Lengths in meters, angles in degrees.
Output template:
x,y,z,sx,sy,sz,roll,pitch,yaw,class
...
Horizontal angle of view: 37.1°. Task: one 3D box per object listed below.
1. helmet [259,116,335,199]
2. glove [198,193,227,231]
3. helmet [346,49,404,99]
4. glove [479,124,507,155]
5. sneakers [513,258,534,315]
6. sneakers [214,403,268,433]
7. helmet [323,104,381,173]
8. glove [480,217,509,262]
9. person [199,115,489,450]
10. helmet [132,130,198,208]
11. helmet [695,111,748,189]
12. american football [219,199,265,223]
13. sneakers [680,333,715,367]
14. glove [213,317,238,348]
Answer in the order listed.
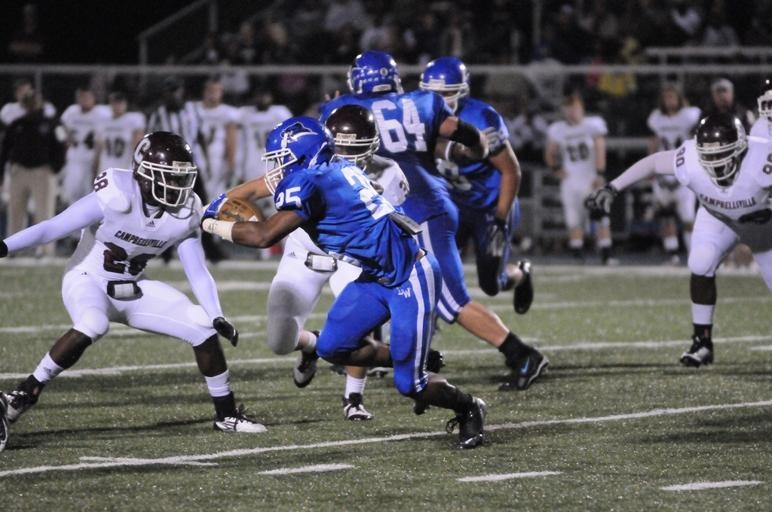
x,y,z,sx,sy,sz,roll,pitch,yaw,class
-0.497,-0.599,6.740,0.487,0.438,0.400,-8,4,17,helmet
-0.993,-0.257,6.834,0.077,0.206,0.130,33,-12,-27,glove
-0.085,-1.191,7.652,0.326,0.330,0.412,-9,13,-11,helmet
0.709,-0.754,7.512,0.149,0.111,0.185,1,0,12,glove
1.010,0.243,8.351,0.146,0.377,0.166,4,-1,-7,sneakers
-0.877,1.011,6.983,0.331,0.154,0.127,1,1,2,sneakers
-0.256,-0.714,6.876,0.343,0.345,0.438,7,24,-2,helmet
0.741,-0.095,7.771,0.192,0.258,0.107,7,-2,10,glove
-0.167,0.161,6.649,1.463,1.878,0.488,0,10,4,person
-1.350,-0.559,7.000,0.344,0.393,0.465,-4,28,-42,helmet
2.211,-0.695,7.697,0.353,0.472,0.479,-1,11,37,helmet
-0.842,-0.258,6.777,0.205,0.119,0.140,15,38,-6,american football
2.178,0.698,8.077,0.124,0.151,0.342,-4,-8,38,sneakers
-0.905,0.441,6.791,0.053,0.198,0.114,-36,-8,-44,glove
